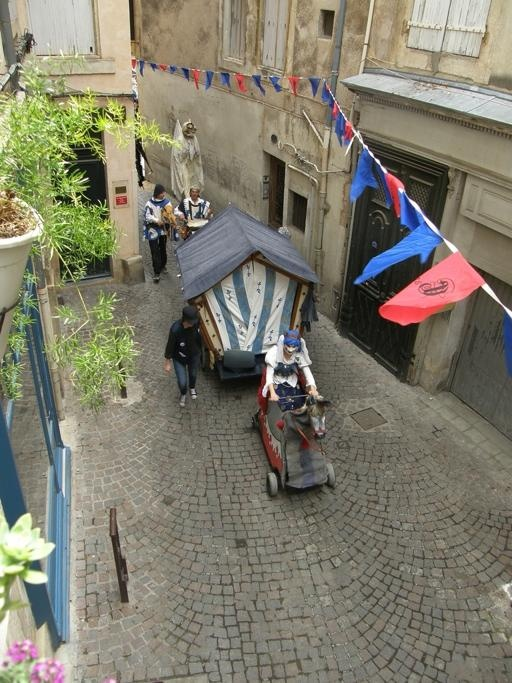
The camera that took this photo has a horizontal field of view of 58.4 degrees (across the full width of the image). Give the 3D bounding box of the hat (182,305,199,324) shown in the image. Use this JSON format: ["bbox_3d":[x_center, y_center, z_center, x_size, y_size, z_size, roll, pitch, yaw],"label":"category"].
[{"bbox_3d":[-1.025,-0.393,7.145,0.216,0.346,0.403,3,27,2],"label":"hat"}]

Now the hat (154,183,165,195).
[{"bbox_3d":[-2.300,-3.612,11.017,0.216,0.269,0.281,-22,37,-33],"label":"hat"}]

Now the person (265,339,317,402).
[{"bbox_3d":[0.480,0.457,6.837,0.540,0.876,0.623,-6,49,-12],"label":"person"}]
